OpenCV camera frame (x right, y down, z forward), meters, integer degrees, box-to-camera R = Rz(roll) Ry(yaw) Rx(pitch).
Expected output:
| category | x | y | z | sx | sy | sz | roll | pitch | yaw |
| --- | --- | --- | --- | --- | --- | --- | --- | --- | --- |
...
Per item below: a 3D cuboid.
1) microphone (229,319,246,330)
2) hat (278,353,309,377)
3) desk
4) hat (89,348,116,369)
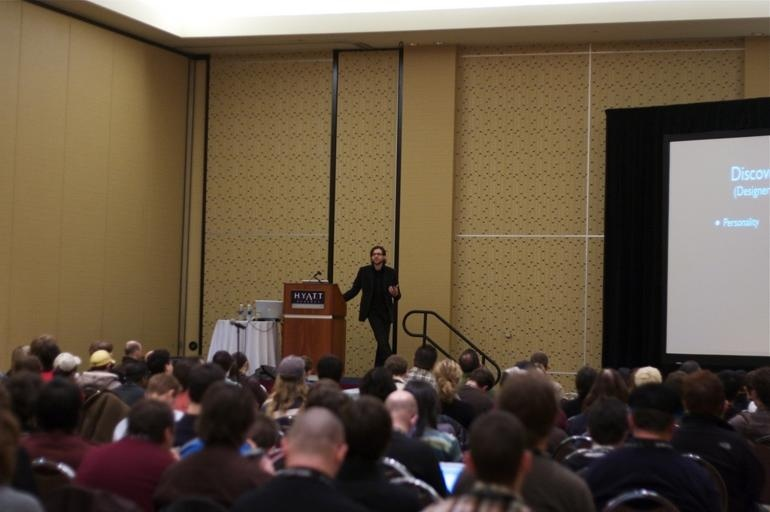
| category | x | y | z | sx | sy | sz | roll | pitch | yaw |
| --- | --- | --- | --- | --- | --- | --- | --- | --- | --- |
| microphone | -2.172 | 1.023 | 11.000 | 0.123 | 0.189 | 0.544 | 5 | -8 | -14 |
| hat | -0.828 | 1.021 | 6.737 | 0.170 | 0.143 | 0.256 | -1 | 16 | 2 |
| desk | -2.160 | 1.319 | 11.438 | 1.081 | 0.740 | 1.024 | 2 | -9 | 2 |
| hat | -3.070 | 1.146 | 8.114 | 0.243 | 0.188 | 0.341 | 2 | 14 | 6 |
